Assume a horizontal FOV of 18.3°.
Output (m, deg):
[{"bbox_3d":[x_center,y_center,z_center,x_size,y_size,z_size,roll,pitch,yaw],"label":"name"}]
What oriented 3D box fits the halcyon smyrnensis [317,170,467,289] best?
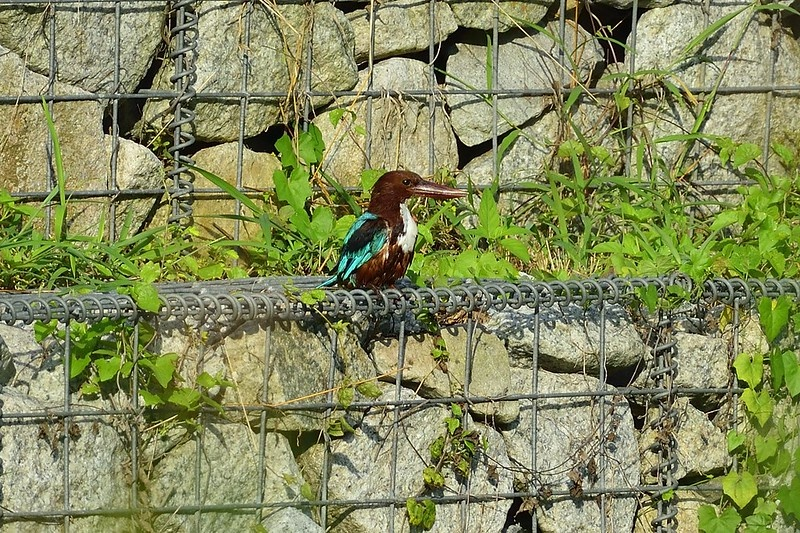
[{"bbox_3d":[-0.115,-0.206,14.810,0.969,0.736,0.432,6,6,30],"label":"halcyon smyrnensis"}]
